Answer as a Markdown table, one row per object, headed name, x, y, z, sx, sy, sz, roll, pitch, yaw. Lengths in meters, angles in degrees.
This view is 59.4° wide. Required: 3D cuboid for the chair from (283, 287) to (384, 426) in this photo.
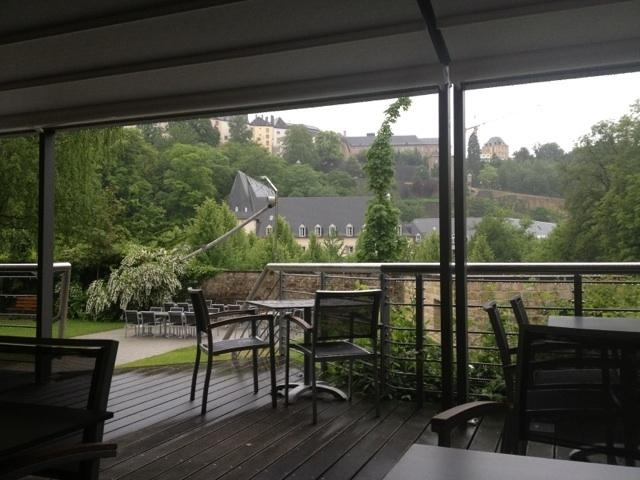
| name | x | y | z | sx | sy | sz | roll | pitch | yaw |
| --- | --- | --- | --- | --- | --- | --- | --- | --- | --- |
| chair | 0.083 | 0.868 | 4.558 | 0.814 | 1.389 | 0.921 | 1 | -2 | -22 |
